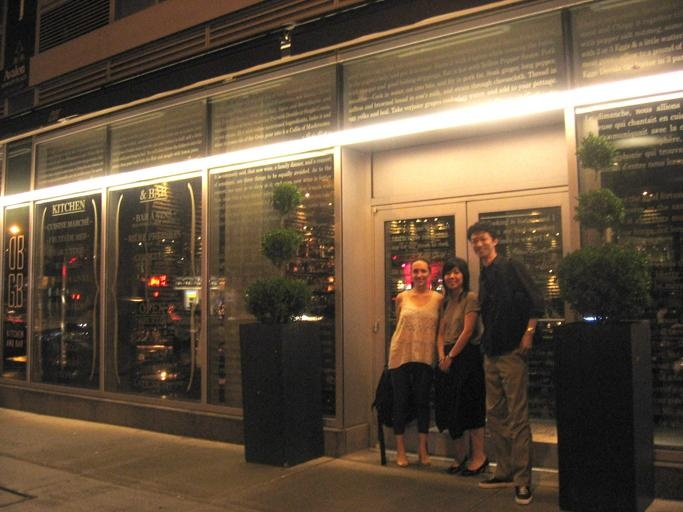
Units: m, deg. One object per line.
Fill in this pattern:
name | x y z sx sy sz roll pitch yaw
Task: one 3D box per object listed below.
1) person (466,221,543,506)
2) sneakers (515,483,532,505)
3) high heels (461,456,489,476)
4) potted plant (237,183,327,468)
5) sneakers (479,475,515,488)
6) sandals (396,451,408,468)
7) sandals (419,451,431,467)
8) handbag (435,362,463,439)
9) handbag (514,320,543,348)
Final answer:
person | 1.706 1.215 7.413 0.647 2.401 0.760 0 3 19
sneakers | 1.800 2.359 7.099 0.148 0.151 0.119 -1 3 16
high heels | 1.449 2.330 7.873 0.348 0.157 0.130 5 -11 -23
potted plant | -0.682 0.743 8.431 0.748 3.226 0.978 2 4 44
sneakers | 1.622 2.354 7.537 0.349 0.149 0.134 1 -9 1
sandals | 0.683 2.288 8.135 0.145 0.158 0.180 -1 3 4
sandals | 0.935 2.275 8.141 0.147 0.183 0.282 -1 3 6
handbag | 1.148 1.596 7.820 0.143 0.755 0.345 -4 4 -39
handbag | 1.929 0.812 7.472 0.197 0.320 0.058 -2 3 -13
